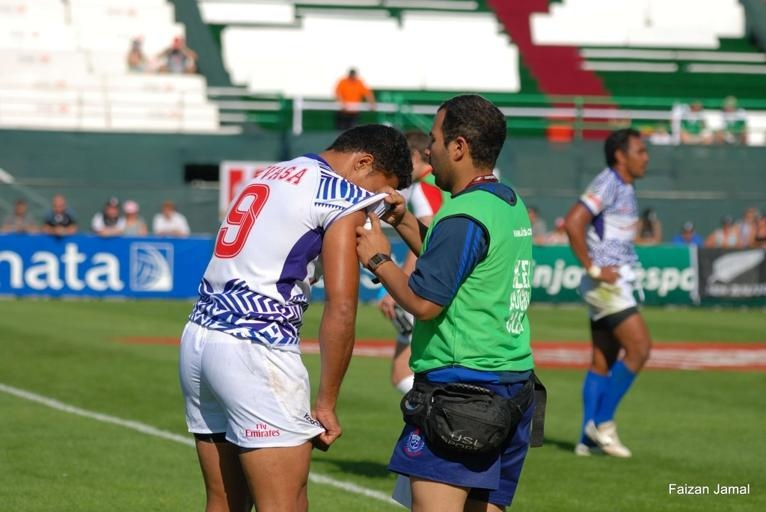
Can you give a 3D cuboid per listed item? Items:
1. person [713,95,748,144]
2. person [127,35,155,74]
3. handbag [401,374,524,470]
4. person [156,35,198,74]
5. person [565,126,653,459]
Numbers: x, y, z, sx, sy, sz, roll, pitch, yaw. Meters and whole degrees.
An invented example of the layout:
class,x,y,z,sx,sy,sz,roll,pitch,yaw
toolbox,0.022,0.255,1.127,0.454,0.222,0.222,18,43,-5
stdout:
class,x,y,z,sx,sy,sz,roll,pitch,yaw
person,3.986,-1.536,16.034,0.279,0.530,1.794,4,6,13
person,-3.204,-2.665,18.740,0.308,0.457,1.587,2,6,-9
handbag,0.873,1.585,13.916,1.567,0.603,1.466,10,2,-39
person,-2.847,-2.784,19.421,0.466,0.525,1.226,2,6,-12
person,2.573,0.418,16.148,0.974,3.742,0.521,3,6,7
